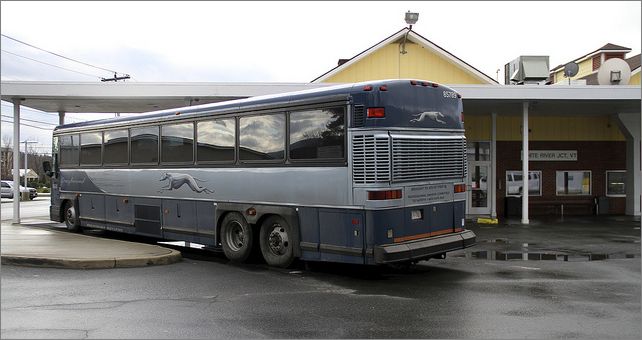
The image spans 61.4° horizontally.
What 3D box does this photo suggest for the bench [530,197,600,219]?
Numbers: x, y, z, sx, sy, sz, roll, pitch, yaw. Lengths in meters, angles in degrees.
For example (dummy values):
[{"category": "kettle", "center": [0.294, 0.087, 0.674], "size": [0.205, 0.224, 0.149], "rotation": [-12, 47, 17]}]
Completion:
[{"category": "bench", "center": [14.638, 2.136, 32.615], "size": [3.927, 1.012, 0.798], "rotation": [0, 5, -11]}]
